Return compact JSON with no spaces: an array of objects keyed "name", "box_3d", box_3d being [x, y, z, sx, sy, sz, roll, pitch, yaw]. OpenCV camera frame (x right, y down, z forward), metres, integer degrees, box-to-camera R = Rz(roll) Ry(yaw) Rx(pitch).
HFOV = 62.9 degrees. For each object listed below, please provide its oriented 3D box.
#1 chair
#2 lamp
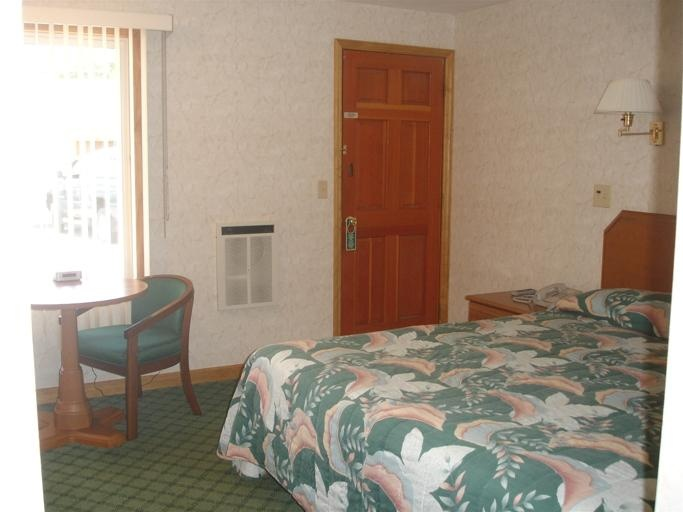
[{"name":"chair","box_3d":[-1.341,0.584,3.624,0.810,0.783,0.683,6,8,39]},{"name":"lamp","box_3d":[1.686,-0.812,3.296,0.461,0.375,0.392,-3,5,-28]}]
